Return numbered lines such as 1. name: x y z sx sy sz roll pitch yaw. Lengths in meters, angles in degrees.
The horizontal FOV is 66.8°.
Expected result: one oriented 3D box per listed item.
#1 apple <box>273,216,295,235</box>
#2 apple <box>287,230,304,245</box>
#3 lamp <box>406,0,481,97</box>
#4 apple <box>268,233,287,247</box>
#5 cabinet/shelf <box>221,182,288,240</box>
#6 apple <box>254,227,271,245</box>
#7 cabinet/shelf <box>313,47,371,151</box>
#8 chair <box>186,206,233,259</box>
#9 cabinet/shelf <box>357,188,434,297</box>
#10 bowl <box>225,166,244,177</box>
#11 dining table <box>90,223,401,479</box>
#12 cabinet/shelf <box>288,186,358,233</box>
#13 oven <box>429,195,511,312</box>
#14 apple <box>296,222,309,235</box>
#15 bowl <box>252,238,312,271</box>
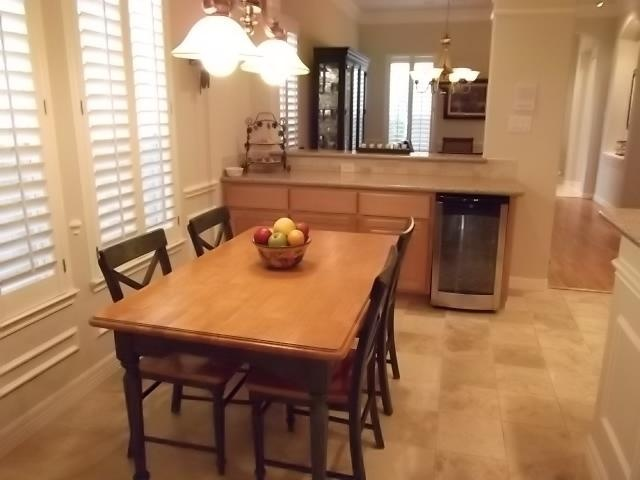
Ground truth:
1. apple: -0.184 -0.075 2.574 0.098 0.098 0.086 1 8 -18
2. apple: -0.121 -0.011 2.461 0.072 0.088 0.069 1 -12 -40
3. lamp: 1.787 -2.698 6.636 0.805 1.354 4.023 6 19 17
4. apple: -0.220 -0.003 2.455 0.068 0.070 0.071 2 21 13
5. cabinet/shelf: -0.536 -0.262 4.525 0.612 0.636 0.355 3 19 6
6. apple: -0.297 -0.016 2.528 0.080 0.081 0.084 3 38 4
7. cabinet/shelf: 0.260 -2.012 7.022 0.486 1.418 1.713 5 19 15
8. chair: -0.763 -0.062 3.305 0.248 0.443 0.244 14 29 28
9. cabinet/shelf: 0.685 -0.091 4.324 0.639 0.932 0.514 5 29 20
10. bowl: -0.770 -0.622 4.404 0.181 0.076 0.155 -9 21 -26
11. dining table: -0.275 0.587 2.654 1.145 0.936 1.323 5 19 14
12. cabinet/shelf: 0.058 -0.266 4.015 0.410 0.424 0.137 2 10 13
13. oven: 1.255 0.211 4.108 0.665 0.985 0.666 -7 -25 39
14. apple: -0.090 -0.057 2.565 0.063 0.083 0.067 1 20 10
15. bowl: -0.201 0.043 2.475 0.176 0.093 0.184 -2 14 0
